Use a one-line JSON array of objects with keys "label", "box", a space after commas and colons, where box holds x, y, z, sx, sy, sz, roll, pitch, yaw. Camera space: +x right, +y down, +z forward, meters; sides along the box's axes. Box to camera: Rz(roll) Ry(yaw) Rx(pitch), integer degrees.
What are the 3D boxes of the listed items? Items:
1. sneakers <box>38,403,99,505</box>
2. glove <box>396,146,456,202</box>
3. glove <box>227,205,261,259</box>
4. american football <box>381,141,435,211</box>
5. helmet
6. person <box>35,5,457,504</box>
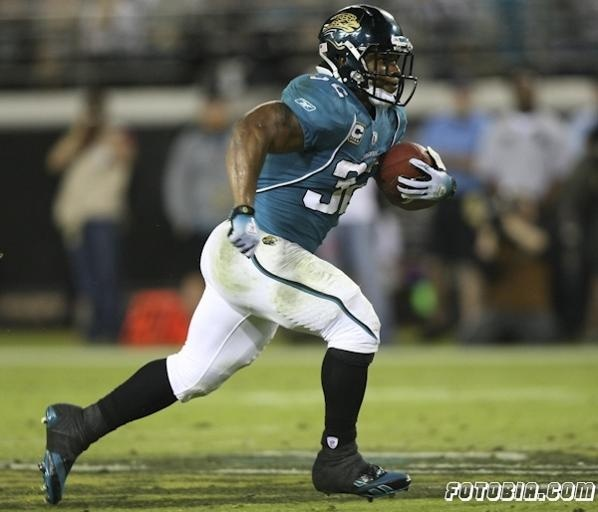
[{"label": "sneakers", "box": [-1.015, 0.836, 5.026, 0.219, 0.478, 0.168, 3, 1, 7]}, {"label": "glove", "box": [0.576, -0.346, 5.269, 0.270, 0.234, 0.126, -7, 2, 1]}, {"label": "glove", "box": [-0.225, -0.104, 4.684, 0.124, 0.203, 0.090, 1, 17, -5]}, {"label": "american football", "box": [0.534, -0.373, 5.359, 0.246, 0.248, 0.312, 17, 4, 12]}, {"label": "helmet", "box": [0.315, -0.958, 5.207, 0.446, 0.334, 0.341, 13, 15, 21]}, {"label": "person", "box": [-0.121, -0.042, 5.171, 1.586, 2.133, 0.999, 5, 17, 7]}]
